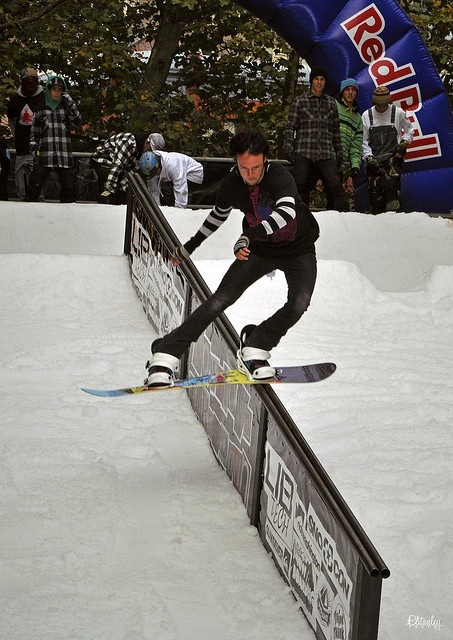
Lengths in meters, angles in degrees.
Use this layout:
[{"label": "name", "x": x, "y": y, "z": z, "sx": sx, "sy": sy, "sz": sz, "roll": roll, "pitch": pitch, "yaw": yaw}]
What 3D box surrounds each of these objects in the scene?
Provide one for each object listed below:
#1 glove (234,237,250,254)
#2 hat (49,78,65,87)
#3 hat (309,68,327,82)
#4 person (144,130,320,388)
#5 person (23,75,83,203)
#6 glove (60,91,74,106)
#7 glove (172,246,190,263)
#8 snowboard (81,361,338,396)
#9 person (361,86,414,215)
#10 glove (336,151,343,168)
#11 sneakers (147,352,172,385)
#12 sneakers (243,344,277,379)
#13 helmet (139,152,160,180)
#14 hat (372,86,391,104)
[{"label": "glove", "x": 0.088, "y": -0.389, "z": 2.805, "sx": 0.041, "sy": 0.097, "sz": 0.096, "roll": 37, "pitch": 41, "yaw": -17}, {"label": "hat", "x": -2.218, "y": -3.121, "z": 6.958, "sx": 0.209, "sy": 0.124, "sz": 0.101, "roll": -6, "pitch": 16, "yaw": -38}, {"label": "hat", "x": 1.281, "y": -3.476, "z": 7.496, "sx": 0.244, "sy": 0.178, "sz": 0.223, "roll": 9, "pitch": 13, "yaw": 23}, {"label": "person", "x": 0.073, "y": -0.387, "z": 3.197, "sx": 0.871, "sy": 1.416, "sz": 1.036, "roll": 7, "pitch": 13, "yaw": 17}, {"label": "person", "x": -2.406, "y": -2.442, "z": 7.310, "sx": 0.667, "sy": 1.631, "sz": 0.616, "roll": -3, "pitch": 14, "yaw": -26}, {"label": "glove", "x": -2.159, "y": -3.018, "z": 7.150, "sx": 0.160, "sy": 0.202, "sz": 0.090, "roll": 4, "pitch": 31, "yaw": 8}, {"label": "glove", "x": -0.347, "y": -0.492, "z": 4.016, "sx": 0.071, "sy": 0.089, "sz": 0.218, "roll": 39, "pitch": 6, "yaw": -6}, {"label": "snowboard", "x": -0.221, "y": 0.404, "z": 3.667, "sx": 1.571, "sy": 0.108, "sz": 0.230, "roll": -7, "pitch": 19, "yaw": -16}, {"label": "person", "x": 2.499, "y": -2.570, "z": 8.404, "sx": 0.770, "sy": 1.660, "sz": 0.701, "roll": 4, "pitch": 13, "yaw": 4}, {"label": "glove", "x": 1.710, "y": -2.437, "z": 8.017, "sx": 0.074, "sy": 0.186, "sz": 0.134, "roll": 0, "pitch": 6, "yaw": -5}, {"label": "sneakers", "x": -0.384, "y": 0.285, "z": 2.995, "sx": 0.182, "sy": 0.178, "sz": 0.154, "roll": 5, "pitch": 13, "yaw": 9}, {"label": "sneakers", "x": 0.190, "y": 0.247, "z": 3.081, "sx": 0.097, "sy": 0.119, "sz": 0.270, "roll": 0, "pitch": 28, "yaw": -31}, {"label": "helmet", "x": -0.988, "y": -2.039, "z": 6.951, "sx": 0.237, "sy": 0.294, "sz": 0.266, "roll": 0, "pitch": 14, "yaw": 2}, {"label": "hat", "x": 2.417, "y": -3.475, "z": 8.169, "sx": 0.241, "sy": 0.237, "sz": 0.275, "roll": 0, "pitch": 22, "yaw": 1}]
